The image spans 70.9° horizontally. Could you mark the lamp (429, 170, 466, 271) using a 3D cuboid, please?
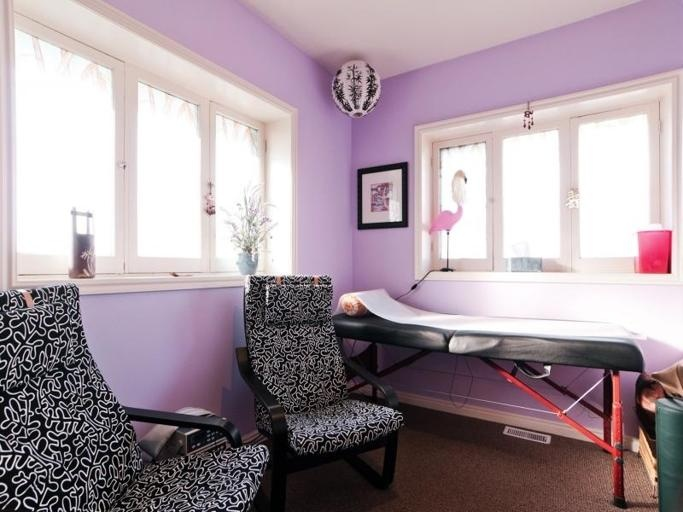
[{"bbox_3d":[0.920,-0.307,4.149,0.331,0.873,0.191,1,-5,34],"label":"lamp"}]

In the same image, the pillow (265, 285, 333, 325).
[{"bbox_3d":[-0.301,0.342,3.287,0.479,0.308,0.064,1,-18,-8],"label":"pillow"}]

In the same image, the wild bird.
[{"bbox_3d":[0.924,-0.308,4.152,0.325,0.863,0.184,1,-3,30],"label":"wild bird"}]

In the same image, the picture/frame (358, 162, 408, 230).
[{"bbox_3d":[0.383,-0.536,4.242,0.576,0.702,0.050,0,0,38],"label":"picture/frame"}]

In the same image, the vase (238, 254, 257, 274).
[{"bbox_3d":[-0.682,0.057,3.449,0.127,0.152,0.135,2,3,23],"label":"vase"}]

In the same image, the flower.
[{"bbox_3d":[-0.702,-0.210,3.577,0.322,0.465,0.327,1,-9,-14],"label":"flower"}]
